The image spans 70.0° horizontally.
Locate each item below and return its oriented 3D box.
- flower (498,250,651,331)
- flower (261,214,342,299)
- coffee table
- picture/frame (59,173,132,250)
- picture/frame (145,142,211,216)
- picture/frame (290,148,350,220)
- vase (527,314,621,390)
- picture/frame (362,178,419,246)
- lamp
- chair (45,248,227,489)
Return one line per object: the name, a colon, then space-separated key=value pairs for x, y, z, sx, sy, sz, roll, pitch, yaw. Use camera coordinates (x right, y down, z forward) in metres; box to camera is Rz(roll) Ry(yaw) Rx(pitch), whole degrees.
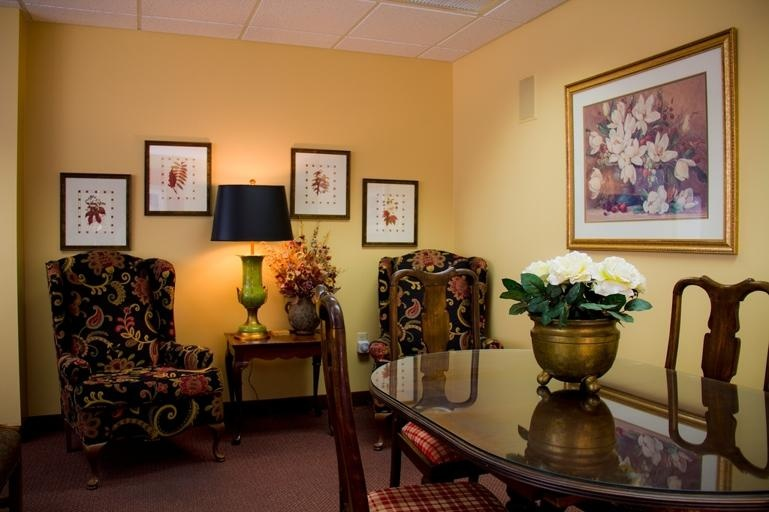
flower: x=0.803 y=0.096 z=2.282 sx=0.407 sy=0.236 sz=0.420 roll=-1 pitch=1 yaw=44
flower: x=-0.605 y=0.099 z=4.584 sx=0.382 sy=0.400 sz=0.433 roll=14 pitch=37 yaw=25
coffee table: x=-0.848 y=0.993 z=4.444 sx=0.862 sy=0.684 sz=0.655 roll=-1 pitch=-2 yaw=-25
picture/frame: x=-2.331 y=-0.362 z=4.357 sx=0.608 sy=0.730 sz=0.049 roll=0 pitch=-3 yaw=-19
picture/frame: x=-1.734 y=-0.640 z=4.506 sx=0.608 sy=0.713 sz=0.051 roll=0 pitch=-3 yaw=-19
picture/frame: x=-0.599 y=-0.635 z=4.819 sx=0.641 sy=0.725 sz=0.048 roll=-1 pitch=3 yaw=-16
vase: x=0.817 y=0.425 z=2.436 sx=0.401 sy=0.303 sz=0.392 roll=4 pitch=-2 yaw=-35
picture/frame: x=0.024 y=-0.415 z=5.014 sx=0.603 sy=0.666 sz=0.050 roll=-1 pitch=3 yaw=-17
lamp: x=-1.085 y=0.024 z=4.343 sx=0.597 sy=1.175 sz=0.463 roll=6 pitch=11 yaw=36
chair: x=-1.844 y=0.695 z=3.963 sx=1.036 sy=1.478 sz=1.211 roll=0 pitch=-1 yaw=-35
